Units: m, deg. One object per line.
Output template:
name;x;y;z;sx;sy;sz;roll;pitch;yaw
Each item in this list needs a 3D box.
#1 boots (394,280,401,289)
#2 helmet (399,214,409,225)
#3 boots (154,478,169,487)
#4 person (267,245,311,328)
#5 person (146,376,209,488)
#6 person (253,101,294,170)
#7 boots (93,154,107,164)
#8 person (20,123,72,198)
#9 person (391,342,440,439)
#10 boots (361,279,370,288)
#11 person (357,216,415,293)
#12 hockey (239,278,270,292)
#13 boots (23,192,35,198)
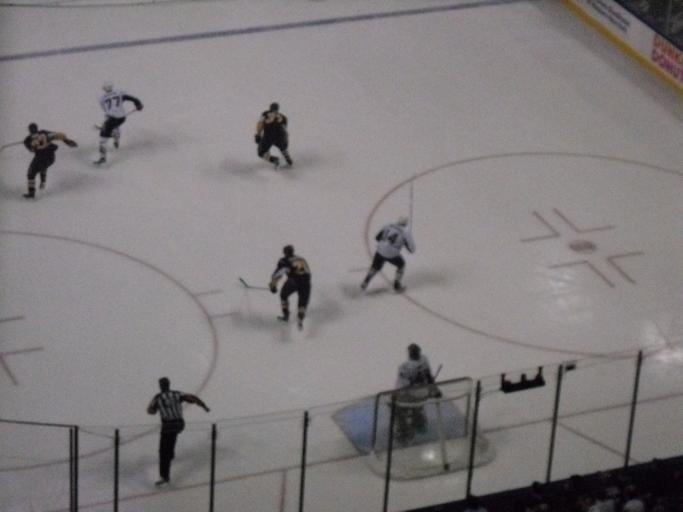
boots;0.937;0.477;22.127;0.102;0.133;0.049;2;37;10
helmet;1.028;-0.638;21.753;0.131;0.164;0.162;3;36;1
boots;-2.648;3.262;18.530;0.246;0.097;0.079;-3;16;-20
person;-0.894;0.499;21.354;0.670;1.385;0.392;-4;5;-3
person;-2.453;2.635;18.790;1.027;0.627;1.640;20;33;-32
person;-1.367;-2.367;24.869;0.685;1.228;1.026;-4;5;-2
boots;-4.787;-1.894;25.013;0.248;0.180;0.196;0;6;34
person;-5.633;-1.840;24.344;0.961;1.396;1.037;-4;5;-9
person;1.079;2.034;19.060;0.668;1.382;1.059;-3;5;2
boots;0.369;0.467;22.132;0.113;0.049;0.150;7;48;30
person;0.778;-0.034;22.024;0.936;1.288;0.552;-2;6;12
hockey;-1.605;0.467;22.183;0.569;0.233;0.210;-1;6;25
boots;-5.922;-1.153;23.972;0.221;0.128;0.116;-2;5;9
